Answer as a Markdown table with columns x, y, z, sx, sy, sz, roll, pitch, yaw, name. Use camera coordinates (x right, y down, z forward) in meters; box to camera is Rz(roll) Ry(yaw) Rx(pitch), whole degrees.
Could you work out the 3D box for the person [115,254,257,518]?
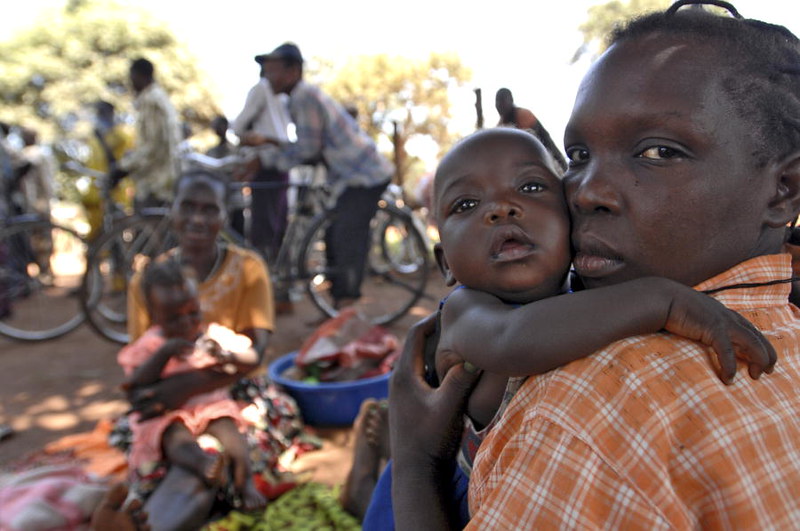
| x | y | z | sx | sy | sz | roll | pitch | yaw | name |
| --- | --- | --- | --- | --- | --- | --- | --- | --- | --- |
| -1.095 | 0.616 | 3.704 | 0.650 | 1.233 | 0.532 | -2 | 10 | -22 | person |
